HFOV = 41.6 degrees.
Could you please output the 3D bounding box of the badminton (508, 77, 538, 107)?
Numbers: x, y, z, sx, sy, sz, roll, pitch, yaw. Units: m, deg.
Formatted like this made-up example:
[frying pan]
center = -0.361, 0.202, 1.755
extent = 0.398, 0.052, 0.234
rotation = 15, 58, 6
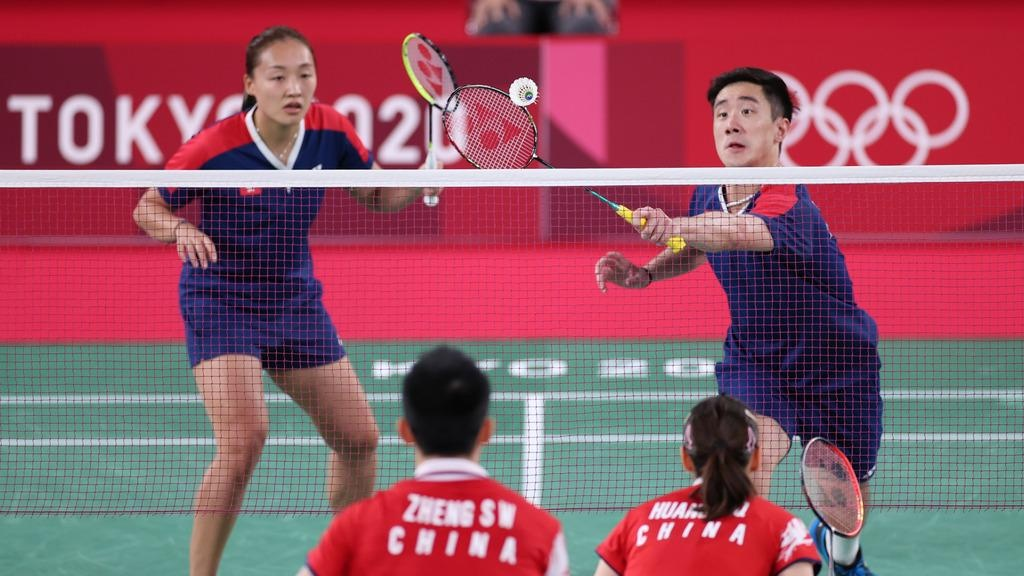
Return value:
[badminton]
center = 0.103, -2.027, 13.847
extent = 0.274, 0.283, 0.293
rotation = -2, 6, -2
